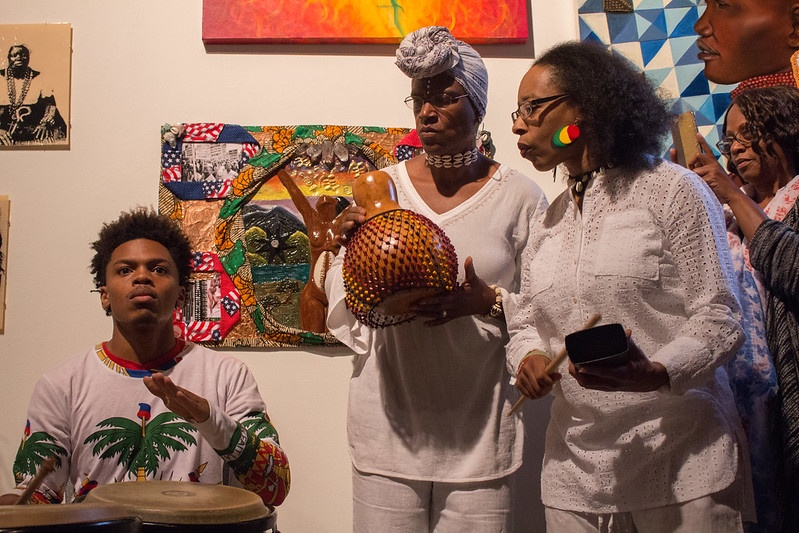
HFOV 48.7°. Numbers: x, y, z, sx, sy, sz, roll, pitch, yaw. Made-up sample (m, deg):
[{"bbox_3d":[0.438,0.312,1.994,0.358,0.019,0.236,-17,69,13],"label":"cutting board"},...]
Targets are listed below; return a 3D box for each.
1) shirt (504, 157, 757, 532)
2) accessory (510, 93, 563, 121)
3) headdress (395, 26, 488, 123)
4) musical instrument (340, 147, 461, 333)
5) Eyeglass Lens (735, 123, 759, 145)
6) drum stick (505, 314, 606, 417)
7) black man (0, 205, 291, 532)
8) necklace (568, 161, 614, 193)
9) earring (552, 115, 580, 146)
[{"bbox_3d":[0.848,0.279,3.589,0.859,1.420,0.978,6,-11,-42],"label":"shirt"},{"bbox_3d":[0.551,-0.651,3.558,0.120,0.039,0.122,-23,-1,-1],"label":"accessory"},{"bbox_3d":[0.186,-0.878,4.088,0.446,0.500,0.391,-12,17,-38],"label":"headdress"},{"bbox_3d":[-0.058,-0.127,3.686,0.368,0.534,0.412,-14,-3,-8],"label":"musical instrument"},{"bbox_3d":[1.560,-0.591,3.941,0.025,0.087,0.076,-16,13,-42],"label":"Eyeglass Lens"},{"bbox_3d":[0.608,0.368,3.407,0.027,0.557,0.047,17,27,-28],"label":"drum stick"},{"bbox_3d":[-1.097,0.570,4.290,1.241,1.921,1.173,-3,-31,-17],"label":"black man"},{"bbox_3d":[0.759,-0.351,3.572,0.112,0.047,0.113,-19,-11,2],"label":"necklace"},{"bbox_3d":[0.658,-0.521,3.497,0.102,0.074,0.022,-38,-16,26],"label":"earring"}]
